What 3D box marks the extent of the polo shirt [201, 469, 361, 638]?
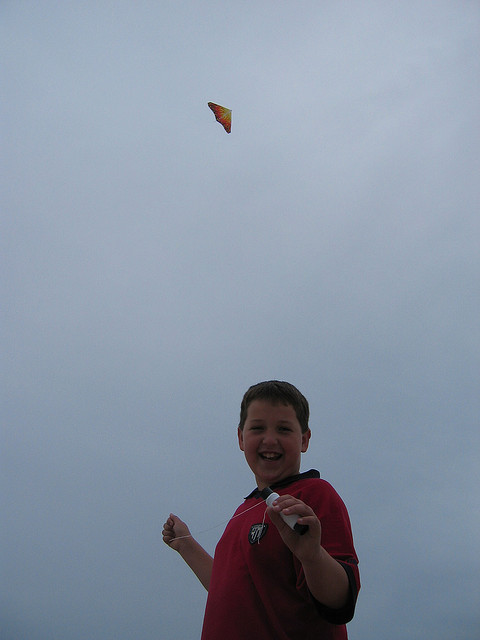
[{"bbox_3d":[0.067,0.467,1.781,0.301,0.365,0.249,-3,-38,-5],"label":"polo shirt"}]
